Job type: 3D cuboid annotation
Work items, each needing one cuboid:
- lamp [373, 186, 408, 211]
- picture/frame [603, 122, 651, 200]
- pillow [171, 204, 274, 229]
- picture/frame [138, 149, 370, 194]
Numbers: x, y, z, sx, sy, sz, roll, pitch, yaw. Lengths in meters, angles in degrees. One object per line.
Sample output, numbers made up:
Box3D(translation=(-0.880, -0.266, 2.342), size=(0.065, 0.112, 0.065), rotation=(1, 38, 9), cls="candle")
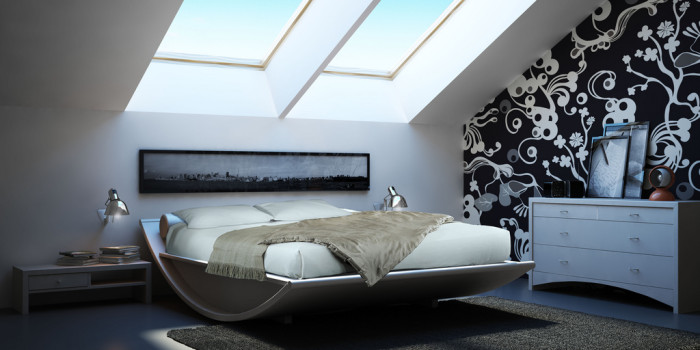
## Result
Box3D(translation=(0.660, 0.435, 6.484), size=(0.433, 0.456, 0.573), rotation=(7, -11, -37), cls="lamp")
Box3D(translation=(4.029, -0.218, 5.526), size=(0.523, 1.282, 0.238), rotation=(-1, 0, 32), cls="picture/frame")
Box3D(translation=(-1.713, 0.590, 5.259), size=(0.723, 0.099, 0.545), rotation=(-3, 11, -29), cls="pillow")
Box3D(translation=(-1.708, -0.048, 6.049), size=(2.930, 0.533, 0.240), rotation=(0, 0, -13), cls="picture/frame")
